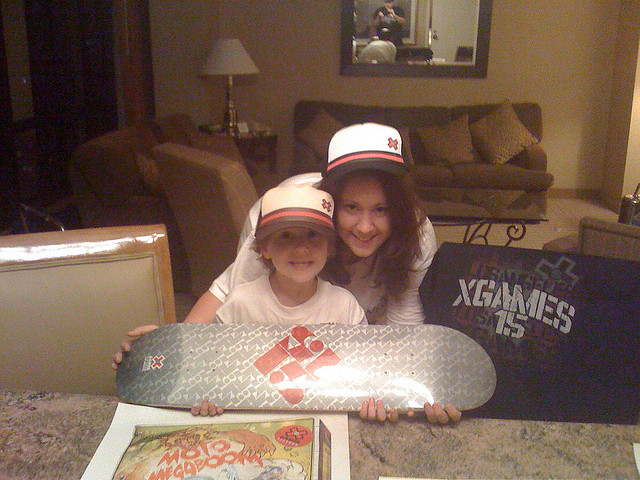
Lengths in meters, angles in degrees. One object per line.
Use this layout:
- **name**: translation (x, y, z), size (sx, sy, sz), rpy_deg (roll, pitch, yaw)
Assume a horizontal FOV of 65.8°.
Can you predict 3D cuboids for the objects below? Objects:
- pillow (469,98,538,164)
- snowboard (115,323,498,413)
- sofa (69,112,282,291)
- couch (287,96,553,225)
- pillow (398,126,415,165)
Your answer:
- **pillow**: translation (1.416, -0.866, 3.906), size (0.370, 0.455, 0.526), rpy_deg (2, 20, 2)
- **snowboard**: translation (-0.031, 0.234, 0.925), size (0.655, 0.156, 0.086), rpy_deg (0, -21, -4)
- **sofa**: translation (-0.817, -0.307, 2.985), size (0.789, 0.747, 1.330), rpy_deg (2, 19, 1)
- **couch**: translation (0.767, -0.661, 4.003), size (2.158, 0.974, 0.943), rpy_deg (1, 12, -2)
- **pillow**: translation (0.695, -0.751, 3.932), size (0.130, 0.261, 0.428), rpy_deg (4, 19, 8)
